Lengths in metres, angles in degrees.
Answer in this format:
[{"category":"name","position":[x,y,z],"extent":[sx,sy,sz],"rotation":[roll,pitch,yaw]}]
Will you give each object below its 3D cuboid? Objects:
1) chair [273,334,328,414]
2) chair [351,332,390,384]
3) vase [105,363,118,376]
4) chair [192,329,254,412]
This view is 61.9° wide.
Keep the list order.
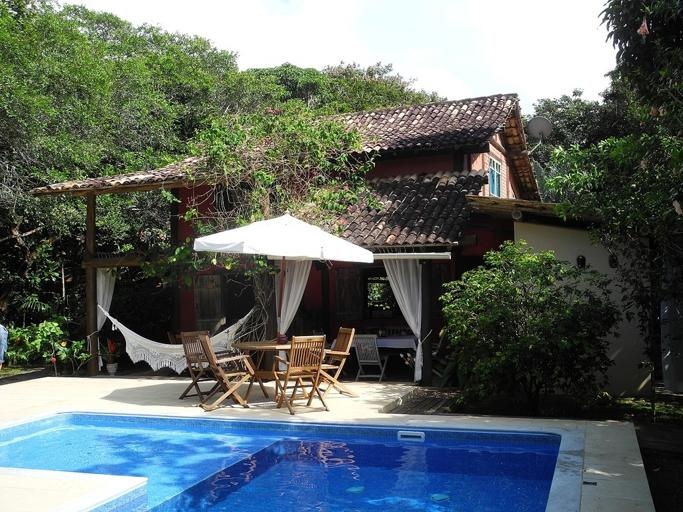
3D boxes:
[{"category":"chair","position":[-0.746,2.008,9.960],"extent":[0.811,1.224,0.917],"rotation":[3,-8,-25]},{"category":"chair","position":[0.680,2.265,12.960],"extent":[0.766,1.319,1.055],"rotation":[-2,-5,15]},{"category":"vase","position":[-5.752,2.839,14.342],"extent":[0.302,0.267,0.301],"rotation":[2,-9,-19]},{"category":"chair","position":[-2.086,2.065,10.353],"extent":[1.100,1.226,1.047],"rotation":[-1,-6,-6]}]
